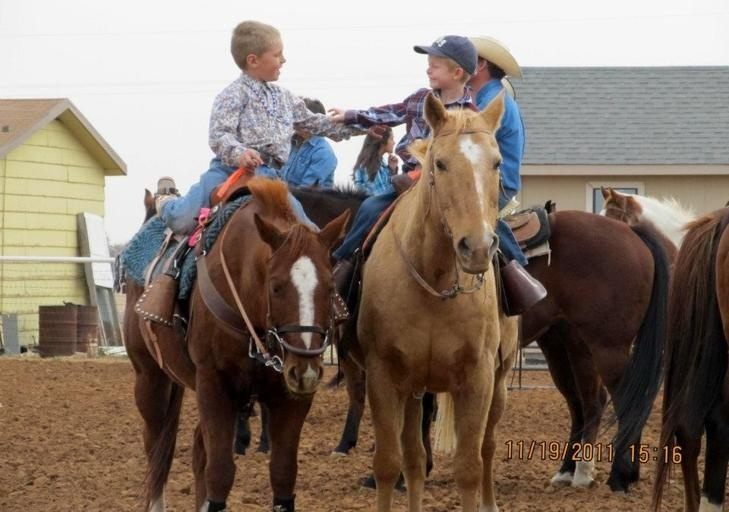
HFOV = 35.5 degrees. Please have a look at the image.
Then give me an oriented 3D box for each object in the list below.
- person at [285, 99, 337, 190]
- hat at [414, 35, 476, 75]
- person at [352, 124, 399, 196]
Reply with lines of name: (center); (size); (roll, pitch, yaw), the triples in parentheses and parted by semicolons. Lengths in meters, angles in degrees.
person: (-0.722, -1.192, 13.678); (0.469, 0.766, 0.855); (-14, 27, -35)
hat: (0.893, -2.148, 12.083); (0.588, 0.411, 0.321); (-1, 0, 1)
person: (0.116, -1.177, 14.730); (0.518, 1.110, 0.365); (-8, 47, -16)
